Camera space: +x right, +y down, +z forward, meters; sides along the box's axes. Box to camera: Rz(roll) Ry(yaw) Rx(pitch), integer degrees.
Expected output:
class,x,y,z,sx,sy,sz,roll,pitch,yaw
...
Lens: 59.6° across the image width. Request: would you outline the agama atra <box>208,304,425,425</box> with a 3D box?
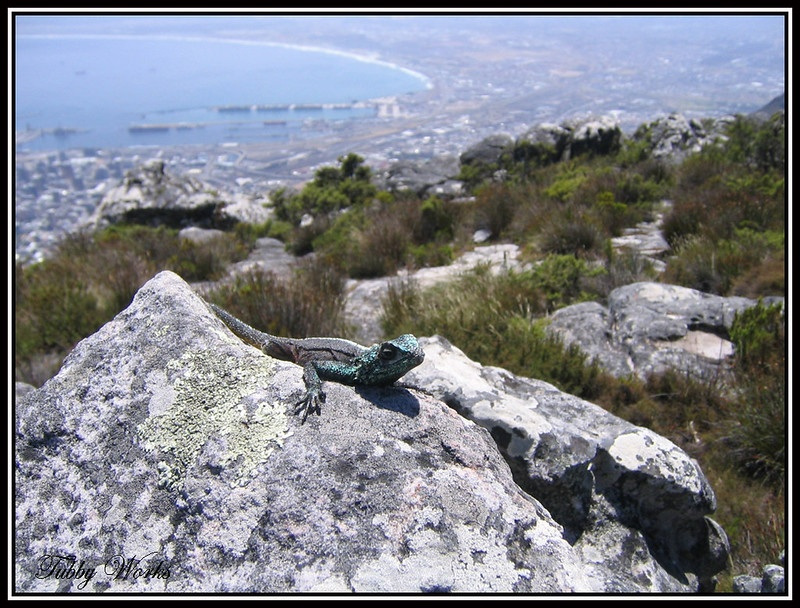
class,x,y,z,sx,sy,sz,roll,pitch,yaw
agama atra,-0.780,0.519,6.987,1.999,0.656,1.097,21,33,40
